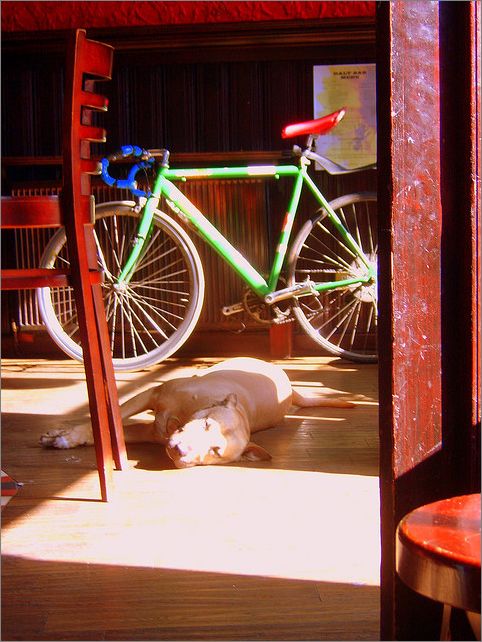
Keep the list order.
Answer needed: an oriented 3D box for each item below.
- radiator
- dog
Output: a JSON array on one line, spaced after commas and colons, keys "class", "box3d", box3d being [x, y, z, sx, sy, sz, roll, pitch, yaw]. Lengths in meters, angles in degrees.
[{"class": "radiator", "box3d": [-0.312, -0.288, 2.632, 0.784, 0.526, 0.061, 0, 4, -1]}, {"class": "dog", "box3d": [-0.088, 0.209, 1.688, 0.373, 0.237, 0.711, -4, 6, 31]}]
